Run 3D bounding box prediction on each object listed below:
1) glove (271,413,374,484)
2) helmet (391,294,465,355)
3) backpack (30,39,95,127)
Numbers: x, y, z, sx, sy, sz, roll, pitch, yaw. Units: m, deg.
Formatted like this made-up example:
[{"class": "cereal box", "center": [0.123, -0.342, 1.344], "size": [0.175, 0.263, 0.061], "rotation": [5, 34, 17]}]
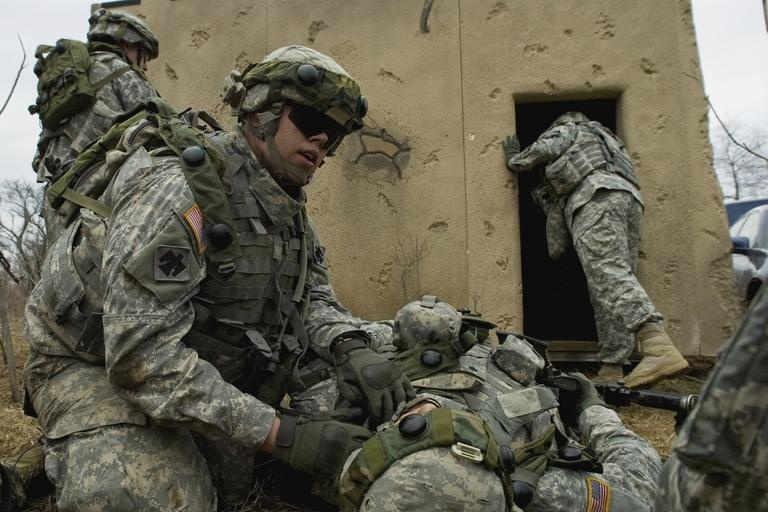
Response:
[{"class": "glove", "center": [-0.360, 1.037, 4.274], "size": [0.441, 0.360, 0.197], "rotation": [12, -20, 1]}, {"class": "helmet", "center": [0.241, 0.411, 4.684], "size": [0.372, 0.366, 0.288], "rotation": [7, -3, 21]}, {"class": "backpack", "center": [-2.354, -1.286, 5.794], "size": [0.489, 0.639, 0.352], "rotation": [-31, -27, 26]}]
